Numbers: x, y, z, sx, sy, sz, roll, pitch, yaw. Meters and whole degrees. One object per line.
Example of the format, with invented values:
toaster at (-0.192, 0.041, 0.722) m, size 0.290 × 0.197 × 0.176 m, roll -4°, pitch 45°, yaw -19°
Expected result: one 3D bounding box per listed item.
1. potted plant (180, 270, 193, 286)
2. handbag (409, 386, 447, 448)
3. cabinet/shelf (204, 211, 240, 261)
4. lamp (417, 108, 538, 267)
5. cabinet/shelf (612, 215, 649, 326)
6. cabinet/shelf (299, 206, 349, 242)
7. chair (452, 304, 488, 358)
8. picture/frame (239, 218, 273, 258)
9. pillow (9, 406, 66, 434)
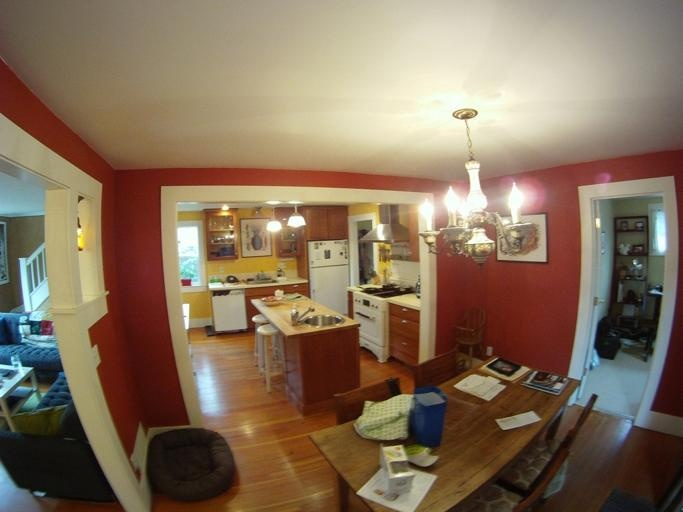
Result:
potted plant at (-2.485, 0.362, 7.589) m, size 0.234 × 0.308 × 0.316 m, roll -3°, pitch 6°, yaw -15°
handbag at (0.593, 1.117, 3.289) m, size 0.264 × 0.352 × 0.275 m, roll -6°, pitch 3°, yaw 6°
cabinet/shelf at (-1.997, -0.348, 7.860) m, size 0.553 × 0.667 × 0.246 m, roll -7°, pitch 4°, yaw -13°
lamp at (0.895, -0.463, 3.260) m, size 0.744 × 1.049 × 0.835 m, roll -6°, pitch 2°, yaw -10°
cabinet/shelf at (4.095, 0.187, 6.780) m, size 0.459 × 1.493 × 0.401 m, roll -7°, pitch 4°, yaw -18°
cabinet/shelf at (-0.323, -0.532, 7.894) m, size 0.619 × 0.519 × 0.219 m, roll -1°, pitch 2°, yaw -30°
chair at (1.486, 0.943, 5.530) m, size 0.428 × 0.651 × 0.358 m, roll -9°, pitch 5°, yaw -42°
picture/frame at (-1.496, -0.316, 8.112) m, size 0.685 × 0.810 × 0.036 m, roll -2°, pitch -3°, yaw -32°
pillow at (-2.448, 1.337, 3.845) m, size 0.290 × 0.104 × 0.284 m, roll 3°, pitch -10°, yaw -26°
